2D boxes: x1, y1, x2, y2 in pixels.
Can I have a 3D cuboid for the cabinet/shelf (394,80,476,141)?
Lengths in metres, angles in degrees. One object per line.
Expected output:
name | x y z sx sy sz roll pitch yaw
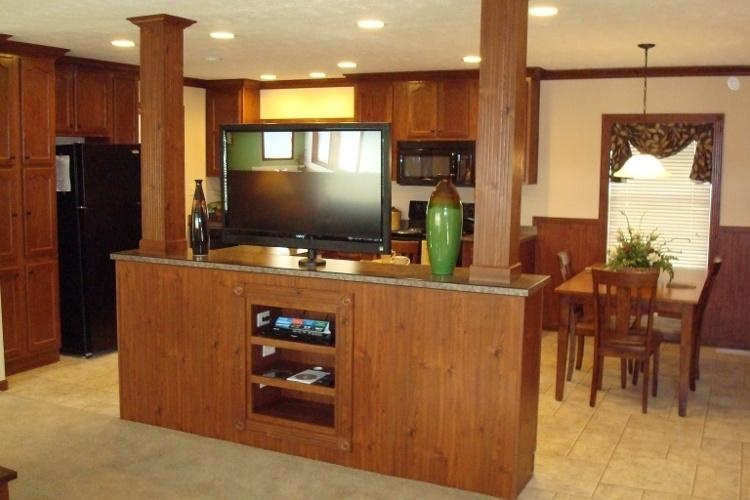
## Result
cabinet/shelf | 0.647 -1.723 7.500 1.383 0.748 0.504 -10 18 -33

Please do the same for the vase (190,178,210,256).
vase | -1.370 -0.257 4.740 0.133 0.581 0.308 -2 9 -17

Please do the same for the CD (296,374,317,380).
CD | -0.491 0.919 4.386 0.142 0.021 0.084 1 8 2

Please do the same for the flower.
flower | 2.370 -0.036 5.655 0.586 0.404 0.526 3 -10 -3

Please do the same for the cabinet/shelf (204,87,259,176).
cabinet/shelf | -1.866 -1.735 8.415 0.778 1.093 0.726 -9 9 -12

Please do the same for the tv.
tv | -0.497 -0.377 4.387 1.474 0.991 0.156 5 8 28

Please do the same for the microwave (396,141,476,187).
microwave | 0.925 -1.054 7.519 0.598 0.564 1.287 -9 12 -40

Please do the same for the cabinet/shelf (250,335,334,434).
cabinet/shelf | -0.605 0.992 4.437 0.854 0.546 0.425 2 1 25

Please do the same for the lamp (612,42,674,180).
lamp | 2.562 -1.314 5.732 0.715 1.278 0.673 2 20 28

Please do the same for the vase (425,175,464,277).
vase | 0.470 -0.156 4.125 0.242 0.663 0.245 2 9 4

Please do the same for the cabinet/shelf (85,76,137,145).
cabinet/shelf | -3.071 -1.587 7.000 0.562 0.753 0.502 -2 -13 -6
